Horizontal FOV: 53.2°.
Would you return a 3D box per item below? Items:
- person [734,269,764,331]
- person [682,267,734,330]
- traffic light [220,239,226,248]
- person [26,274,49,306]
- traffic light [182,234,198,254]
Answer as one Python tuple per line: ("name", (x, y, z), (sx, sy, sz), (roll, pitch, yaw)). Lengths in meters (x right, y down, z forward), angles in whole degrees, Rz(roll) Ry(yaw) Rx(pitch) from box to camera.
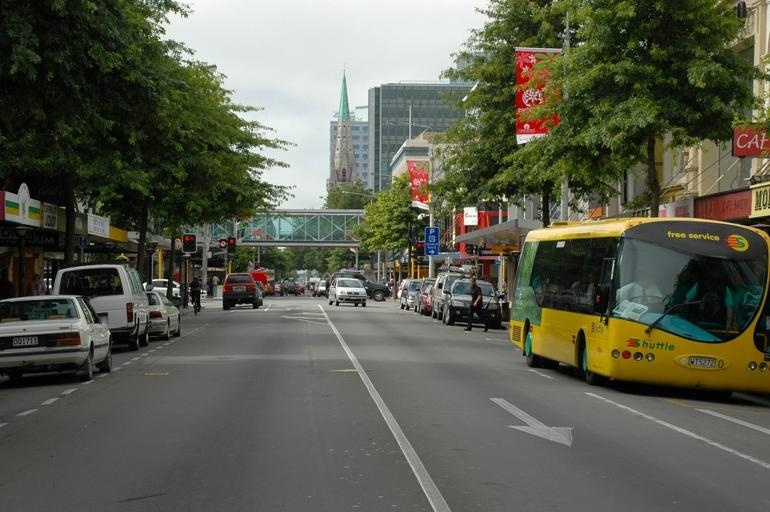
("person", (7.500, 0.885, 15.951), (0.611, 1.139, 0.382), (3, -7, 29))
("person", (6.631, 0.943, 15.888), (0.855, 1.435, 0.516), (-5, -34, 17))
("traffic light", (-11.657, -0.935, 55.383), (0.437, 0.622, 1.157), (-2, -1, -15))
("person", (-11.592, 1.103, 25.586), (0.606, 1.499, 0.400), (4, -19, -30))
("traffic light", (-11.840, -0.811, 46.431), (0.763, 1.122, 0.862), (-2, -1, -21))
